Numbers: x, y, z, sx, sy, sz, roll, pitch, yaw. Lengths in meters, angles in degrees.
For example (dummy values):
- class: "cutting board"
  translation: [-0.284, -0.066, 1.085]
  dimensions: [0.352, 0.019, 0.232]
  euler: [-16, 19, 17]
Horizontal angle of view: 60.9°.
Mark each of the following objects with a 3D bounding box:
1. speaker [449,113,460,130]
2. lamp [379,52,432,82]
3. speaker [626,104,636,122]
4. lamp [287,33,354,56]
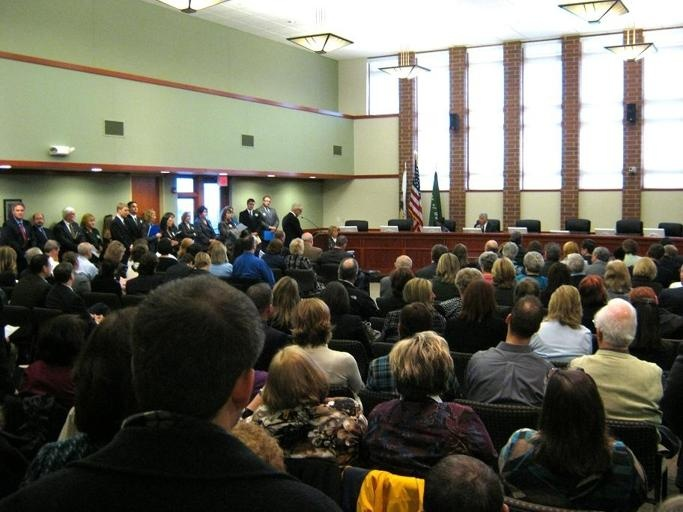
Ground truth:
- class: "speaker"
  translation: [3.018, -3.612, 15.610]
  dimensions: [0.265, 0.463, 0.186]
  euler: [3, 4, 14]
- class: "lamp"
  translation: [1.581, -4.759, 14.649]
  dimensions: [1.156, 0.786, 1.096]
  euler: [9, 12, 43]
- class: "speaker"
  translation: [6.793, -3.348, 13.701]
  dimensions: [0.284, 0.487, 0.206]
  euler: [4, 4, 26]
- class: "lamp"
  translation: [-0.376, -4.507, 12.257]
  dimensions: [0.727, 0.212, 0.786]
  euler: [3, 6, 27]
